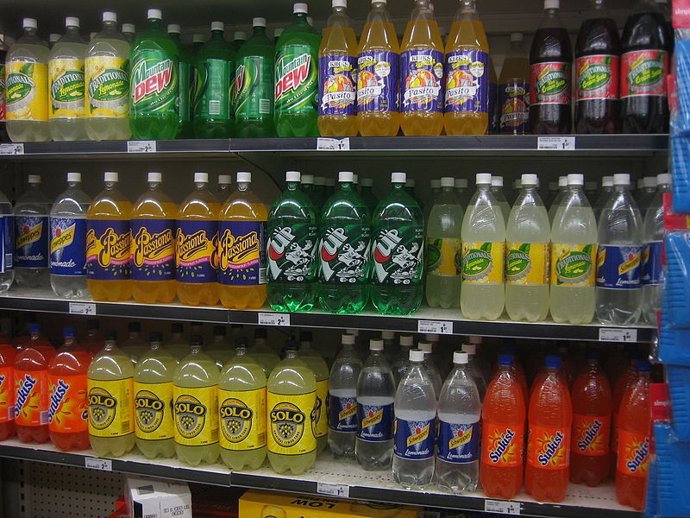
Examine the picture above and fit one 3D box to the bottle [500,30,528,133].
[{"bbox_3d":[0.737,-0.761,2.895,0.136,0.446,0.223,-2,0,16],"label":"bottle"}]
